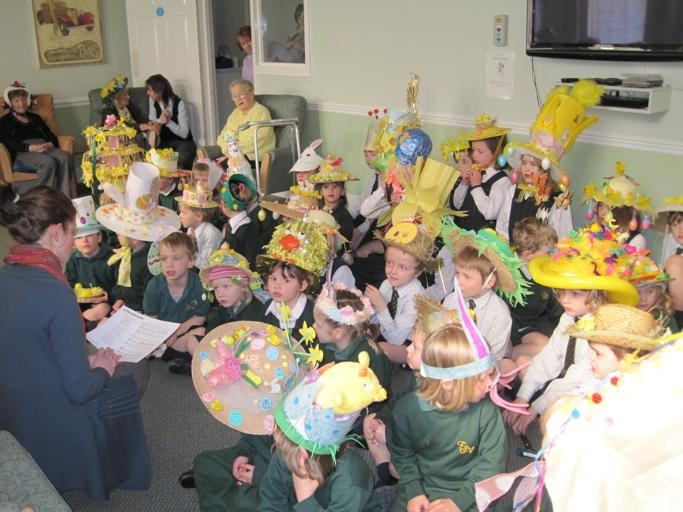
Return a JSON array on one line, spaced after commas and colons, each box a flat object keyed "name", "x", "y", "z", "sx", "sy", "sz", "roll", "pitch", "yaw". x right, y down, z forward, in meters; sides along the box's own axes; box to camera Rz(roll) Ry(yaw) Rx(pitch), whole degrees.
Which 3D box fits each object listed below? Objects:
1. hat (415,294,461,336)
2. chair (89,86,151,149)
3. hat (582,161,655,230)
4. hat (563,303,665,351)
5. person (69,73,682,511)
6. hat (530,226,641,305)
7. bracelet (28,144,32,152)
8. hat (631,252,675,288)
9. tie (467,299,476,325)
[{"name": "hat", "x": 0.400, "y": 0.237, "z": 2.292, "sx": 0.164, "sy": 0.110, "sz": 0.160, "roll": 24, "pitch": 42, "yaw": -36}, {"name": "chair", "x": -2.432, "y": -1.508, "z": 6.417, "sx": 0.554, "sy": 0.932, "sz": 0.413, "roll": 5, "pitch": 2, "yaw": -10}, {"name": "hat", "x": 1.559, "y": -0.343, "z": 3.204, "sx": 0.417, "sy": 0.356, "sz": 0.492, "roll": 11, "pitch": 1, "yaw": 11}, {"name": "hat", "x": 0.964, "y": 0.194, "z": 1.951, "sx": 0.262, "sy": 0.099, "sz": 0.243, "roll": 1, "pitch": 16, "yaw": 14}, {"name": "person", "x": 0.100, "y": 0.210, "z": 1.738, "sx": 1.513, "sy": 0.588, "sz": 0.878, "roll": -3, "pitch": 10, "yaw": 6}, {"name": "hat", "x": 1.033, "y": 0.003, "z": 2.371, "sx": 0.432, "sy": 0.221, "sz": 0.452, "roll": 6, "pitch": 14, "yaw": 20}, {"name": "bracelet", "x": -3.189, "y": -1.100, "z": 5.770, "sx": 0.040, "sy": 0.058, "sz": 0.065, "roll": -7, "pitch": 24, "yaw": -18}, {"name": "hat", "x": 1.302, "y": 0.066, "z": 2.379, "sx": 0.159, "sy": 0.056, "sz": 0.163, "roll": -8, "pitch": 21, "yaw": -17}, {"name": "tie", "x": 0.531, "y": 0.228, "z": 2.316, "sx": 0.026, "sy": 0.119, "sz": 0.063, "roll": -3, "pitch": -7, "yaw": -9}]
